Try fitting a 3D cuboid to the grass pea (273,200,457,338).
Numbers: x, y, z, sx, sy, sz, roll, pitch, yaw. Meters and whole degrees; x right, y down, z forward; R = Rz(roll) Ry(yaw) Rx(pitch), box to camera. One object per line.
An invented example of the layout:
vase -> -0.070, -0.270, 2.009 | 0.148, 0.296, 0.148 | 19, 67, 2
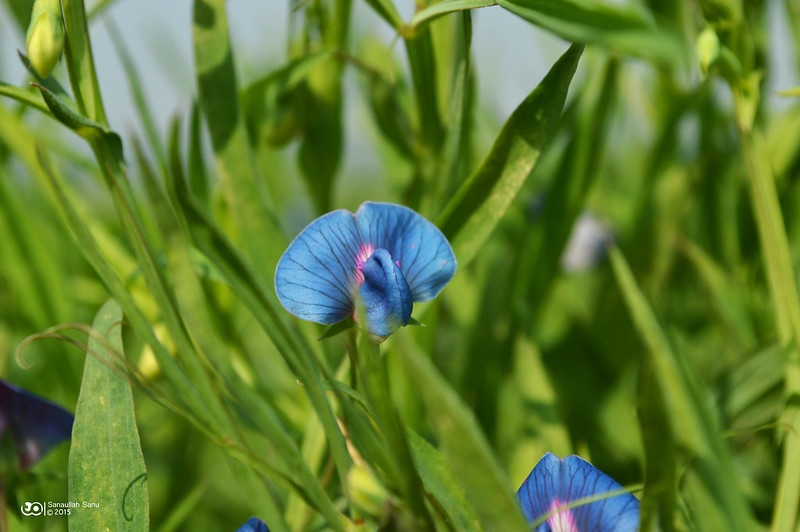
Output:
grass pea -> -0.020, 0.024, 0.832 | 0.164, 0.099, 0.171 | 18, -15, -39
